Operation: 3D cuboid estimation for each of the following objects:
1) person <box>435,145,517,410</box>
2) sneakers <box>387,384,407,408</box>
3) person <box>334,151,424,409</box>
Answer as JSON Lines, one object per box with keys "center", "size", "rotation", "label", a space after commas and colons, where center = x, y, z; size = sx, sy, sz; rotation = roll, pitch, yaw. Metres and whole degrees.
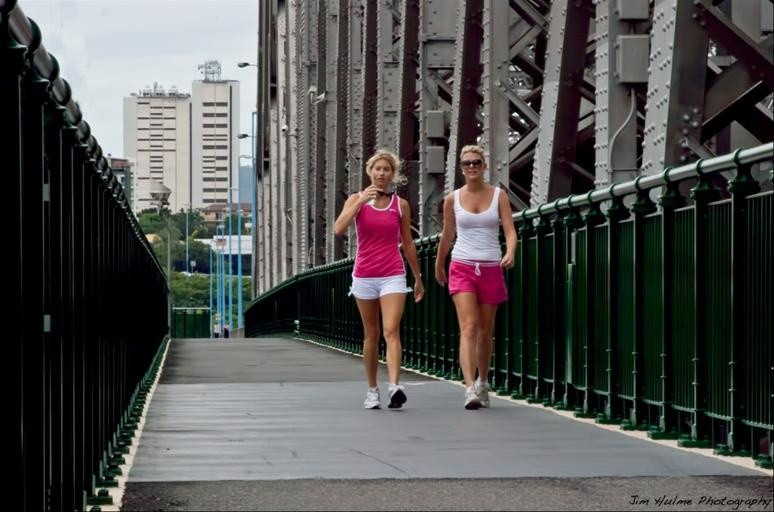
{"center": [0.820, 0.178, 10.490], "size": [0.494, 2.047, 0.944], "rotation": [-2, 0, -26], "label": "person"}
{"center": [0.096, 1.229, 10.696], "size": [0.103, 0.127, 0.279], "rotation": [-4, -31, -11], "label": "sneakers"}
{"center": [-0.064, 0.205, 10.752], "size": [0.672, 2.089, 0.899], "rotation": [-1, 0, 3], "label": "person"}
